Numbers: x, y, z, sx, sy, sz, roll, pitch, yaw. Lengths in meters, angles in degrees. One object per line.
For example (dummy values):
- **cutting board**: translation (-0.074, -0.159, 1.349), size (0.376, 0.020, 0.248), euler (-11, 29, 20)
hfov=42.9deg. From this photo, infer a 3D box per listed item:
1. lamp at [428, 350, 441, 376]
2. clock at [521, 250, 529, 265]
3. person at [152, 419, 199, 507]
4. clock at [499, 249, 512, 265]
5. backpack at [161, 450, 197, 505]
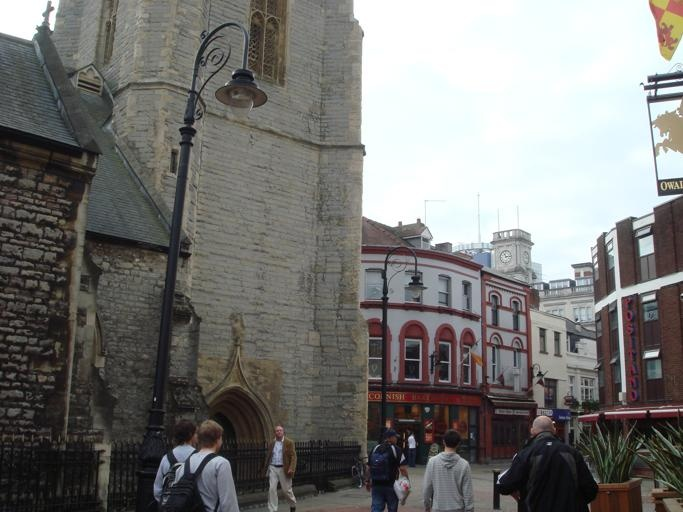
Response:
- **lamp**: translation (4.727, 5.259, 42.810), size (0.472, 1.274, 1.166), euler (-9, -18, 26)
- **clock**: translation (19.627, 0.275, 92.945), size (0.137, 1.429, 1.415), euler (-8, -12, 33)
- **person**: translation (-2.745, 3.516, 14.355), size (0.786, 1.301, 1.295), euler (-2, -36, -6)
- **clock**: translation (17.614, 0.130, 93.155), size (0.097, 1.503, 1.467), euler (5, 7, -44)
- **backpack**: translation (-2.552, 3.528, 13.672), size (0.347, 0.615, 0.440), euler (37, -45, -23)
